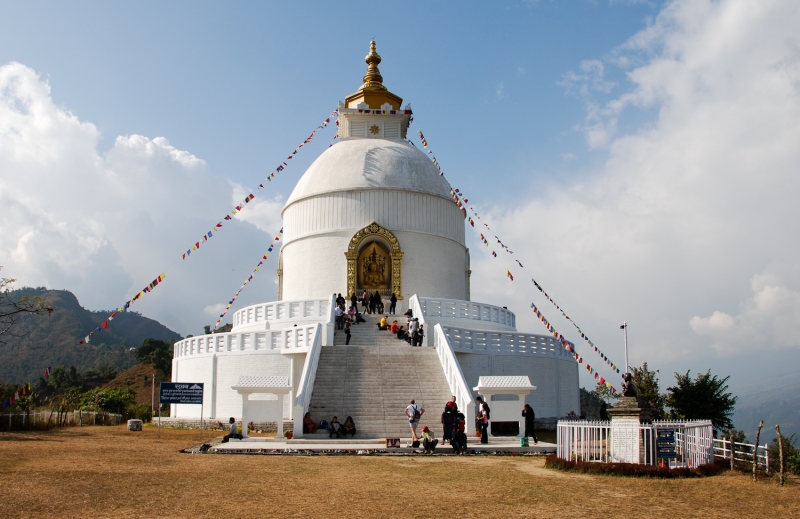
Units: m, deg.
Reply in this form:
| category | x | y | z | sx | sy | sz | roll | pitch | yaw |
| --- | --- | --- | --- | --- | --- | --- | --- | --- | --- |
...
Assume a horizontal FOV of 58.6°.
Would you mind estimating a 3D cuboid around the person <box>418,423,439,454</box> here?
| category | x | y | z | sx | sy | sz | roll | pitch | yaw |
| --- | --- | --- | --- | --- | --- | --- | --- | --- | --- |
| person | 0.862 | 5.621 | 22.160 | 0.642 | 1.052 | 0.721 | 0 | -3 | 2 |

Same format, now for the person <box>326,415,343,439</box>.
| category | x | y | z | sx | sy | sz | roll | pitch | yaw |
| --- | --- | --- | --- | --- | --- | --- | --- | --- | --- |
| person | -2.237 | 5.738 | 24.127 | 0.489 | 0.722 | 0.283 | -8 | -28 | 9 |

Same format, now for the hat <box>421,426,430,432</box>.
| category | x | y | z | sx | sy | sz | roll | pitch | yaw |
| --- | --- | --- | --- | --- | --- | --- | --- | --- | --- |
| hat | 0.797 | 5.279 | 22.062 | 0.244 | 0.106 | 0.355 | 0 | -14 | 3 |
